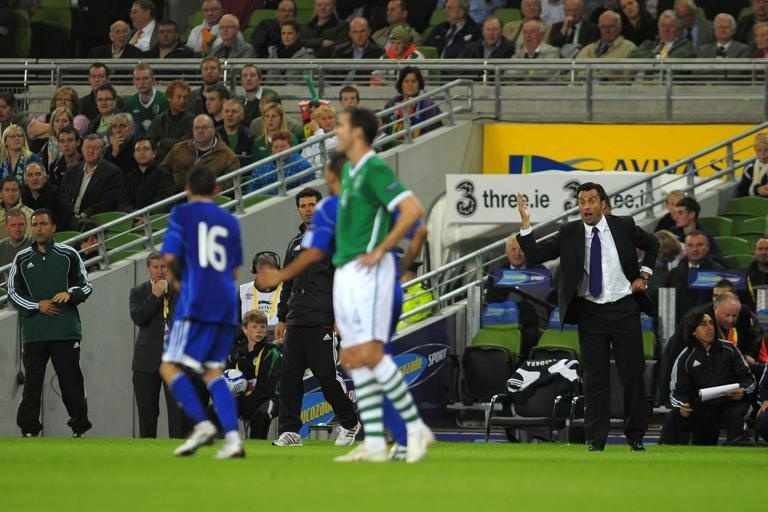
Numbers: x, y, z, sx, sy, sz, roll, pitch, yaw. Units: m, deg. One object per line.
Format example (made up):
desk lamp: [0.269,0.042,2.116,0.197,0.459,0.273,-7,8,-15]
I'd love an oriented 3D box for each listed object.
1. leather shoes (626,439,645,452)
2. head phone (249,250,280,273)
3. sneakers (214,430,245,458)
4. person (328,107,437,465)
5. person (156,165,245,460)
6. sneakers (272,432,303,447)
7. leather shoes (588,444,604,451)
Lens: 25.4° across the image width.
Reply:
leather shoes: [3.058,2.282,20.312,0.264,0.176,0.086,-3,6,-18]
head phone: [-1.591,0.100,22.520,0.321,0.271,0.126,-1,13,-4]
sneakers: [-1.649,2.020,18.035,0.317,0.286,0.203,0,-6,2]
person: [-0.062,0.537,17.804,0.930,3.242,0.421,0,-6,3]
person: [-1.945,0.606,18.206,0.913,3.132,0.366,1,-6,-9]
sneakers: [-1.161,2.243,20.578,0.382,0.164,0.140,3,-4,-12]
leather shoes: [2.534,2.289,20.162,0.238,0.095,0.078,3,0,1]
